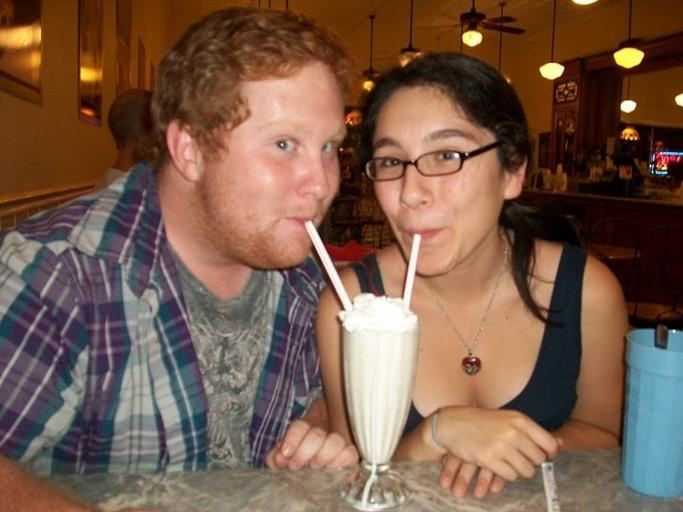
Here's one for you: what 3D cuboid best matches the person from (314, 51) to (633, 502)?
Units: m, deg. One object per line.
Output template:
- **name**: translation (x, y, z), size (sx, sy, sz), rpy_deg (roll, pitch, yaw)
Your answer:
- **person**: translation (0.504, 0.073, 2.381), size (1.216, 1.704, 0.985), rpy_deg (-4, 12, 15)
